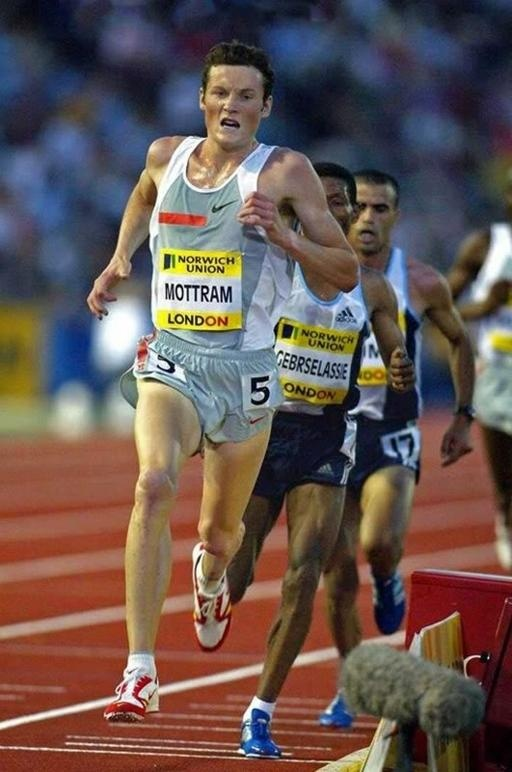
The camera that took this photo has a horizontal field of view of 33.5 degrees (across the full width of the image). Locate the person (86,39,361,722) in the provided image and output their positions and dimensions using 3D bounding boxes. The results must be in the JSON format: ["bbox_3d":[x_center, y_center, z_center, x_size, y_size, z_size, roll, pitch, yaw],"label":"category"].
[{"bbox_3d":[-0.098,-0.055,2.427,0.743,1.868,1.307,1,4,-12],"label":"person"}]

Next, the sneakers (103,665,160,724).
[{"bbox_3d":[-0.281,0.689,1.892,0.072,0.087,0.191,0,-8,13],"label":"sneakers"}]

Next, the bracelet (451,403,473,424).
[{"bbox_3d":[0.810,0.110,3.312,0.066,0.076,0.042,-7,-15,6],"label":"bracelet"}]

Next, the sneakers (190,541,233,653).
[{"bbox_3d":[-0.167,0.809,3.199,0.163,0.428,0.176,-2,23,2],"label":"sneakers"}]
